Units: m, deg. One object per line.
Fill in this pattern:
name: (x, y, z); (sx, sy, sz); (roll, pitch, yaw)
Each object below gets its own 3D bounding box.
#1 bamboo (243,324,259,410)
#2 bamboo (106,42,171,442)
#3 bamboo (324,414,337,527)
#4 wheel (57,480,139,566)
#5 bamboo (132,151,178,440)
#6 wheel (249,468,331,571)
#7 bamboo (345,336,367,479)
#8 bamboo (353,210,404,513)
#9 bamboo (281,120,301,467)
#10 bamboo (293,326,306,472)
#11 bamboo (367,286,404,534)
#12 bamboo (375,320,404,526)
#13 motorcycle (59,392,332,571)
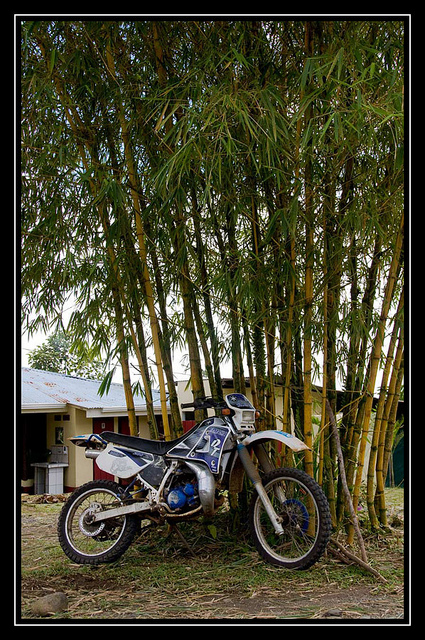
bamboo: (0.189, 0.236, 2.560); (0.070, 0.411, 0.058); (1, -4, 12)
bamboo: (-0.332, -0.226, 2.456); (0.133, 2.067, 0.247); (2, 3, 5)
bamboo: (0.569, 0.766, 2.518); (0.089, 0.595, 0.113); (2, -1, 9)
wheel: (-0.532, 0.919, 2.330); (0.329, 0.393, 0.069); (5, -28, 6)
bamboo: (-0.285, -0.156, 2.523); (0.041, 1.489, 0.091); (-8, -4, 2)
wheel: (0.311, 0.826, 2.132); (0.349, 0.416, 0.109); (-1, -9, 33)
bamboo: (0.712, 0.491, 2.568); (0.054, 0.920, 0.042); (5, -3, 16)
bamboo: (0.739, 0.220, 2.334); (0.137, 1.426, 0.268); (4, 1, 21)
bamboo: (0.356, 0.041, 2.387); (0.091, 1.276, 0.117); (1, 1, 20)
bamboo: (0.441, 0.392, 2.596); (0.071, 0.724, 0.075); (1, -4, -17)
bamboo: (0.819, 0.497, 2.544); (0.157, 1.323, 0.223); (1, 0, 21)
bamboo: (0.881, 0.560, 2.611); (0.111, 0.900, 0.172); (1, 0, 23)
motorcycle: (-0.075, 0.735, 2.256); (1.154, 0.861, 0.536); (-3, -9, 8)
